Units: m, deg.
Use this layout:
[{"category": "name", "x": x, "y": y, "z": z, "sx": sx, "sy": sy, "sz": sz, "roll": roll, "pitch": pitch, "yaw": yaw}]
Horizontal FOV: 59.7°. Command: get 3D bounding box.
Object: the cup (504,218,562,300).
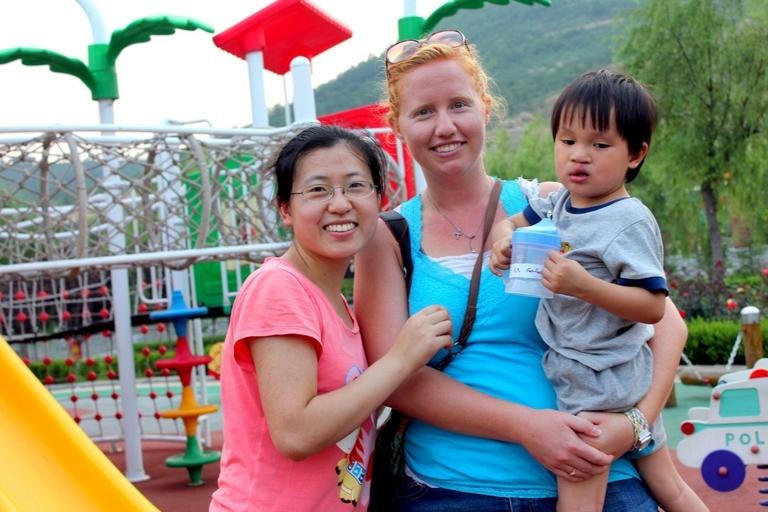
[{"category": "cup", "x": 0.701, "y": 0.023, "z": 3.134, "sx": 0.247, "sy": 0.329, "sz": 0.180, "roll": -7, "pitch": 1, "yaw": -37}]
